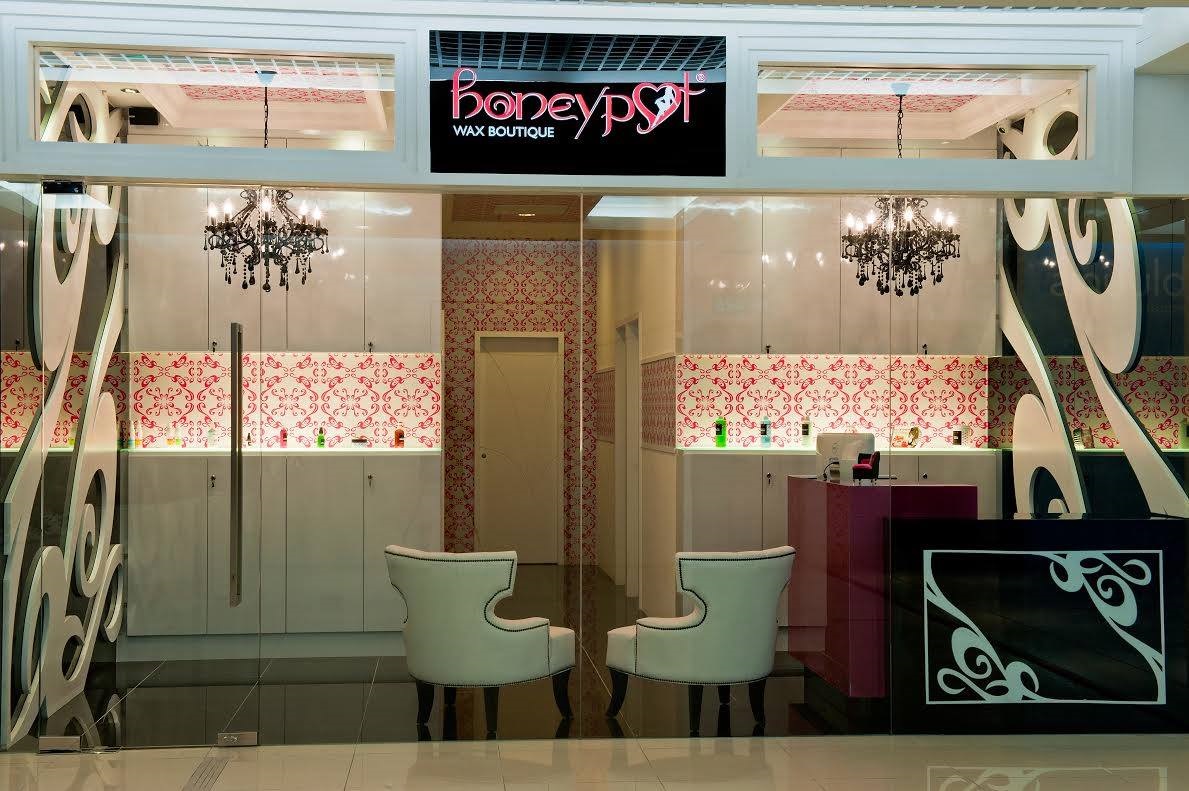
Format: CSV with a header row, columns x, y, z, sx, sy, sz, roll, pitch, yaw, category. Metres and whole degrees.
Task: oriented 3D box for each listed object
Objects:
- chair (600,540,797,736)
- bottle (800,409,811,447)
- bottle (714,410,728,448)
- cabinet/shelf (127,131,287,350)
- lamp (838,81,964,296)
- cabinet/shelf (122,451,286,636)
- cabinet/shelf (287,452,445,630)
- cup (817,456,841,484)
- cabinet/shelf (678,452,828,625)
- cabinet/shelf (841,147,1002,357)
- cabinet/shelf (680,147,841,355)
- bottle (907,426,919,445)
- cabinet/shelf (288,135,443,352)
x,y,z,sx,sy,sz,roll,pitch,yaw,category
0.771,1.583,6.905,0.992,1.217,1.172,3,-4,-39,chair
1.393,0.210,6.563,0.078,0.205,0.018,-1,2,-13,bottle
0.827,0.224,6.532,0.085,0.205,0.020,-1,2,-17,bottle
-2.540,-0.983,6.408,1.318,1.377,0.481,0,-3,-6,cabinet/shelf
2.088,-1.407,6.747,0.746,1.386,0.744,0,1,38,lamp
-2.521,1.147,6.711,0.940,1.290,0.697,-19,-34,16,cabinet/shelf
-1.500,0.914,6.455,1.102,1.268,0.437,0,1,-2,cabinet/shelf
1.547,0.494,6.590,0.136,0.140,0.137,0,-5,0,cup
0.996,0.907,6.569,1.076,1.119,0.350,0,2,-4,cabinet/shelf
2.118,-1.039,6.746,0.732,1.115,0.742,-2,0,-20,cabinet/shelf
0.999,-0.785,6.774,1.193,1.122,0.419,-8,6,-27,cabinet/shelf
2.129,0.253,6.637,0.084,0.123,0.014,-1,2,-18,bottle
-1.556,-0.898,6.562,1.018,1.190,0.399,-4,37,-21,cabinet/shelf
